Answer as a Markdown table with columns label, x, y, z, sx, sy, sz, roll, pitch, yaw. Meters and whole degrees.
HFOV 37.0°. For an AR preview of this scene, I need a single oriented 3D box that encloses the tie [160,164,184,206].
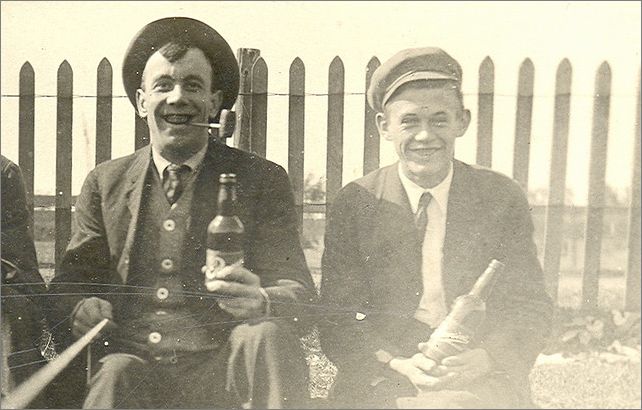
| label | x | y | z | sx | sy | sz | roll | pitch | yaw |
| --- | --- | --- | --- | --- | --- | --- | --- | --- | --- |
| tie | -0.985 | -0.140 | 6.325 | 0.164 | 0.249 | 0.062 | 1 | 1 | 2 |

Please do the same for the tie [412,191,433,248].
| label | x | y | z | sx | sy | sz | roll | pitch | yaw |
| --- | --- | --- | --- | --- | --- | --- | --- | --- | --- |
| tie | 0.685 | 0.098 | 6.475 | 0.091 | 0.365 | 0.097 | 8 | -1 | 1 |

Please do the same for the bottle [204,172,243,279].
| label | x | y | z | sx | sy | sz | roll | pitch | yaw |
| --- | --- | --- | --- | --- | --- | --- | --- | --- | --- |
| bottle | -0.637 | 0.142 | 6.391 | 0.250 | 0.694 | 0.040 | 1 | 0 | 2 |
